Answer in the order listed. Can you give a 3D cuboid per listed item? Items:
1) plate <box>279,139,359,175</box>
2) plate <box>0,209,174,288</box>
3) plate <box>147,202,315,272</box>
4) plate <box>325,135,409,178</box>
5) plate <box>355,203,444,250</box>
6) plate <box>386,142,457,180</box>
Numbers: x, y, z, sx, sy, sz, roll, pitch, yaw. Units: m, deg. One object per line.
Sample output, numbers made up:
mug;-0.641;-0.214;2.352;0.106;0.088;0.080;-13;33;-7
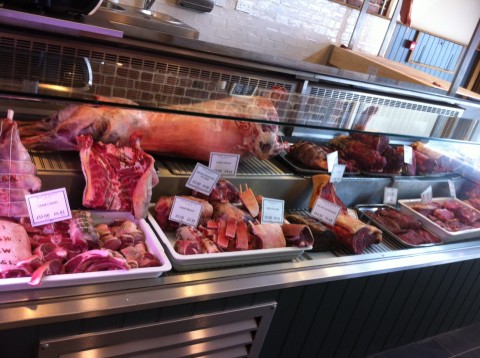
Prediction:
plate;0.493;-0.172;1.986;0.311;0.093;0.263;27;19;36
plate;-0.494;0.244;1.119;0.414;0.053;0.279;-2;33;-25
plate;-0.031;0.249;1.391;0.477;0.061;0.320;1;21;-19
plate;0.952;-0.160;2.334;0.337;0.162;0.442;5;15;-15
plate;1.063;0.297;2.114;0.465;0.066;0.386;1;26;-30
plate;1.308;-0.113;2.287;0.334;0.096;0.317;-10;31;-23
